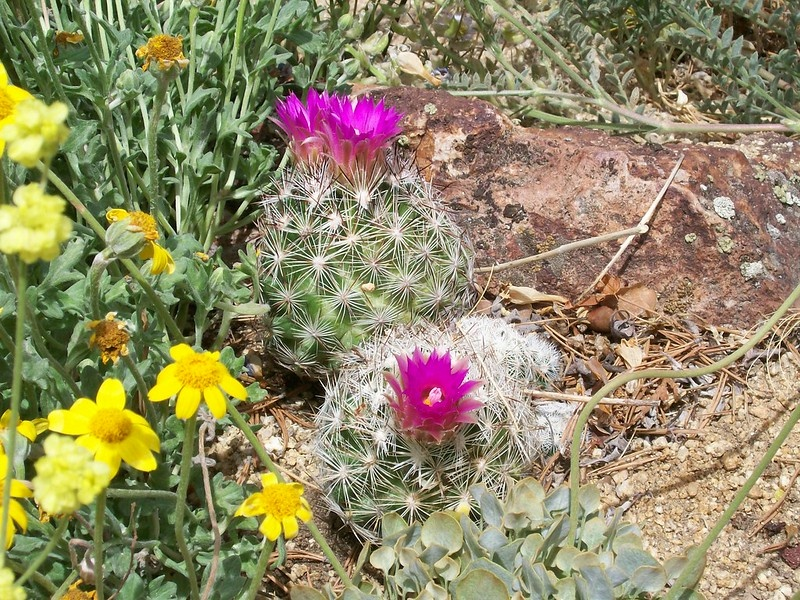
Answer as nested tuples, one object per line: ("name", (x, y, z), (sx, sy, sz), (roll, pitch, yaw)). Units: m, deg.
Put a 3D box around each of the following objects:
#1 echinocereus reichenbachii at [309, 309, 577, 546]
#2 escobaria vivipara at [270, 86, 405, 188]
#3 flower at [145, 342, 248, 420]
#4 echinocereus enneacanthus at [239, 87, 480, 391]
("echinocereus reichenbachii", (0.106, 0.352, 2.456), (0.688, 0.643, 0.414), (-19, -1, -10))
("escobaria vivipara", (-0.192, -0.566, 2.595), (0.319, 0.383, 0.373), (-7, 12, -39))
("flower", (-0.428, 0.165, 1.679), (0.137, 0.208, 0.159), (-2, 14, -28))
("echinocereus enneacanthus", (-0.109, -0.217, 2.743), (0.621, 1.010, 0.909), (-6, 14, -20))
